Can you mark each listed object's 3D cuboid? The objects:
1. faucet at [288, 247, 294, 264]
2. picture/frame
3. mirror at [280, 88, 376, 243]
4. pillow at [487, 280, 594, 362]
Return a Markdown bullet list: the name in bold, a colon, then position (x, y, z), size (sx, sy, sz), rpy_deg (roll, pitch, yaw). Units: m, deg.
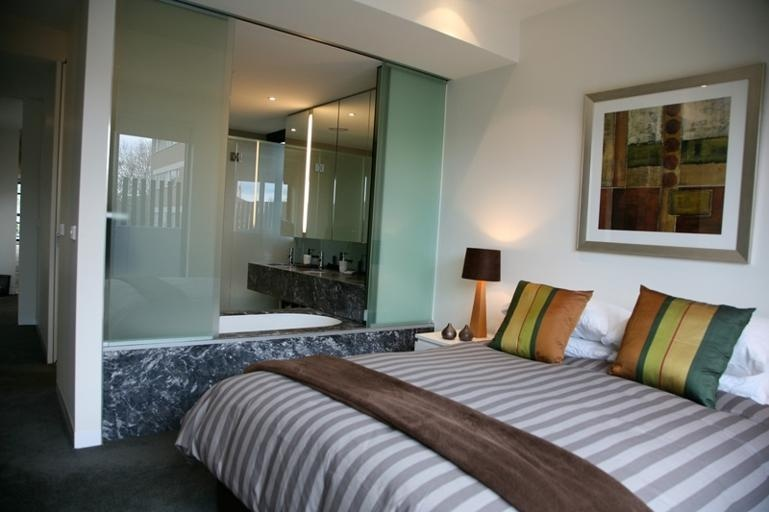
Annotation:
- **faucet**: position (-1.304, 0.001, 7.036), size (0.071, 0.211, 0.273), rpy_deg (-1, 14, -14)
- **picture/frame**: position (2.150, -0.676, 3.706), size (1.460, 1.765, 0.073), rpy_deg (4, 4, 42)
- **mirror**: position (-0.669, -0.680, 5.866), size (1.304, 1.032, 0.020), rpy_deg (4, -7, 25)
- **pillow**: position (1.188, 0.466, 3.834), size (0.181, 0.615, 0.621), rpy_deg (33, -6, -29)
